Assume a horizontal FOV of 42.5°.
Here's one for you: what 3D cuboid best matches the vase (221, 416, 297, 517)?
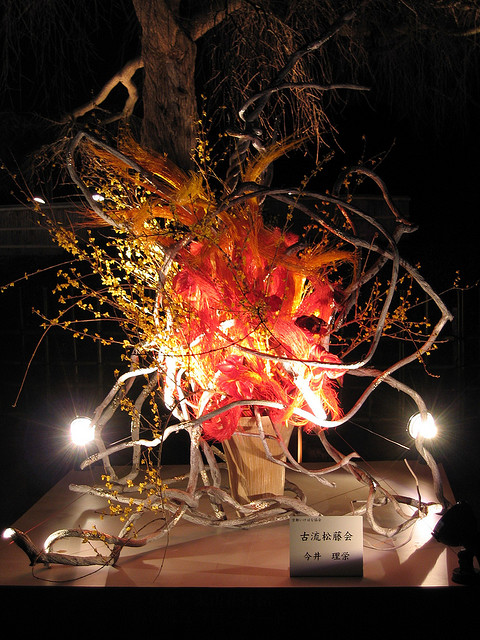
[{"bbox_3d":[0.035,0.282,1.323,0.195,0.239,0.206,-1,-91,20],"label":"vase"}]

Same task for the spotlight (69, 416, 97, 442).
[{"bbox_3d":[-0.367,0.242,1.414,0.062,0.057,0.036,1,-78,-8],"label":"spotlight"}]

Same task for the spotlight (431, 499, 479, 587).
[{"bbox_3d":[0.376,0.371,1.048,0.095,0.103,0.098,1,-76,3],"label":"spotlight"}]
